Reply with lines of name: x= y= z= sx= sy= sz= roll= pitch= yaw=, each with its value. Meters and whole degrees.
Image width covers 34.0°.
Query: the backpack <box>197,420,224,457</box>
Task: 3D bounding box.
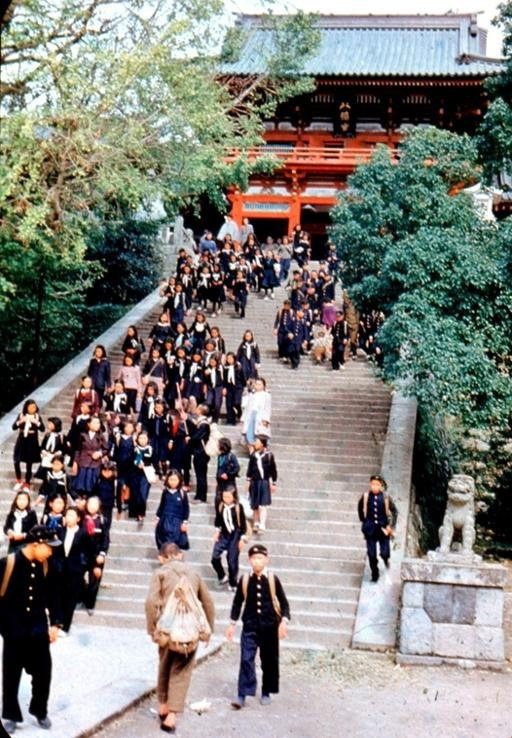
backpack: x=-0.565 y=0.887 z=11.081 sx=0.362 sy=0.739 sz=0.514 roll=-1 pitch=-10 yaw=-2

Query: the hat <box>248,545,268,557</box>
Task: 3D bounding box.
hat: x=0.016 y=1.413 z=6.551 sx=0.111 sy=0.089 sz=0.115 roll=-4 pitch=10 yaw=-39

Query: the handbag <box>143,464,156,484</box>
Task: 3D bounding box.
handbag: x=-1.309 y=1.280 z=10.432 sx=0.134 sy=0.260 sz=0.083 roll=-13 pitch=-2 yaw=-21

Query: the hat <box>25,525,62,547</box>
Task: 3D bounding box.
hat: x=-1.439 y=1.131 z=5.736 sx=0.214 sy=0.107 sz=0.162 roll=9 pitch=-4 yaw=-7

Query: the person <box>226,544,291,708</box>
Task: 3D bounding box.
person: x=0.027 y=2.050 z=6.678 sx=0.468 sy=1.384 sz=0.539 roll=2 pitch=7 yaw=2

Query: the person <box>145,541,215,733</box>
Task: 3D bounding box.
person: x=-0.535 y=1.966 z=5.995 sx=0.465 sy=1.364 sz=0.498 roll=1 pitch=7 yaw=-4
